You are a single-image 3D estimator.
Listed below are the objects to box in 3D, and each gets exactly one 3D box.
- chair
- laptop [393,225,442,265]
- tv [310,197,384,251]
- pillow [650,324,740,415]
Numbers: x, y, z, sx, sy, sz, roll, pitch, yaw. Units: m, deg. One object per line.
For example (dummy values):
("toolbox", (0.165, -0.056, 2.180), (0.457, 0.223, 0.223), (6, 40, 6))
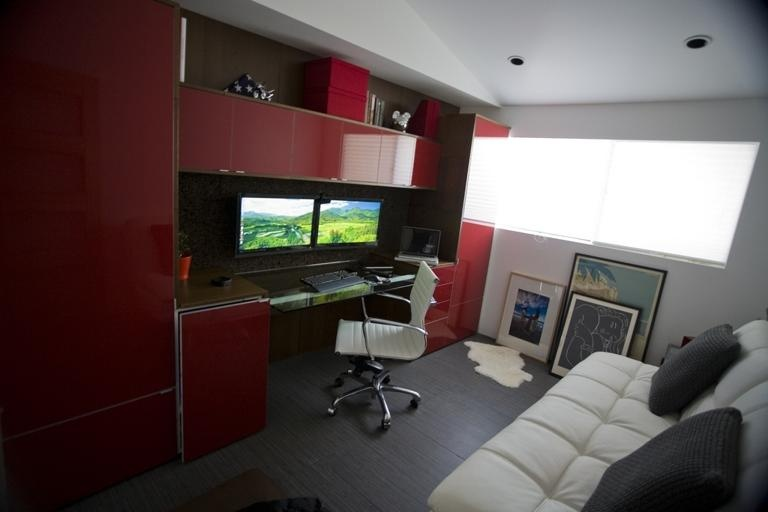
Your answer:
("chair", (0.133, 0.691, 4.826), (1.284, 1.702, 1.319), (5, 9, -9))
("laptop", (0.388, -0.135, 5.232), (0.491, 0.352, 0.403), (9, 14, 0))
("tv", (-0.354, -0.332, 4.813), (0.041, 0.501, 0.805), (17, 17, 42))
("pillow", (2.204, 0.815, 3.390), (0.200, 0.617, 0.668), (28, 34, 26))
